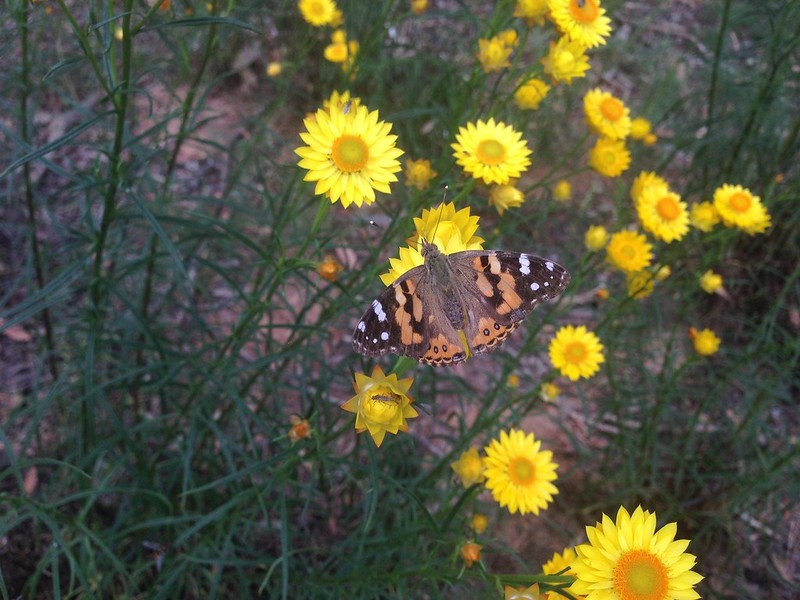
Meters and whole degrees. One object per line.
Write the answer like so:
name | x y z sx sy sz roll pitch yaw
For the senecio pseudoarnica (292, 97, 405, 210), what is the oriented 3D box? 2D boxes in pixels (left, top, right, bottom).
senecio pseudoarnica | -0.165 -0.454 2.396 0.315 0.356 0.131 23 -1 -1

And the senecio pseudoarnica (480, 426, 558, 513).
senecio pseudoarnica | 0.401 0.615 2.637 0.244 0.316 0.222 2 32 8

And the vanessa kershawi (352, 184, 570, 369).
vanessa kershawi | 0.168 -0.062 2.762 0.782 0.623 0.249 -15 19 7

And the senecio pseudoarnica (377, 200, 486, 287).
senecio pseudoarnica | 0.131 -0.192 2.661 0.262 0.326 0.342 -11 23 -38
